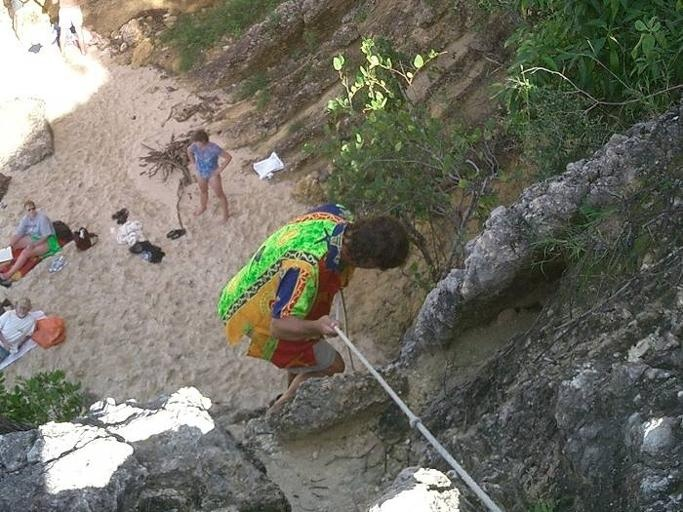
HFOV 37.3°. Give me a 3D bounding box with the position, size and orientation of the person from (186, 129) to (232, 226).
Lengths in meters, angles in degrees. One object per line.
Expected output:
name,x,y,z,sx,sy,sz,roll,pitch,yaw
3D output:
person,-1.686,-1.024,12.716,0.524,1.333,0.300,11,46,16
